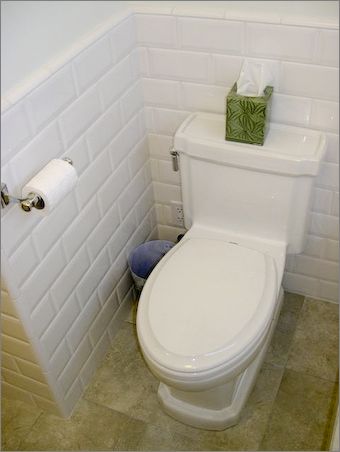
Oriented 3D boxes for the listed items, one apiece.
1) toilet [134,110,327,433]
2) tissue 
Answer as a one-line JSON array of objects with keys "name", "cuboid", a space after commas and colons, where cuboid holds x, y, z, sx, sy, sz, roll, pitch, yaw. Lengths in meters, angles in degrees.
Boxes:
[{"name": "toilet", "cuboid": [0.195, 0.143, 1.102, 0.453, 0.789, 0.762, 14, 50, 17]}, {"name": "tissue ", "cuboid": [0.228, -0.348, 1.009, 0.123, 0.204, 0.131, 8, 38, 16]}]
